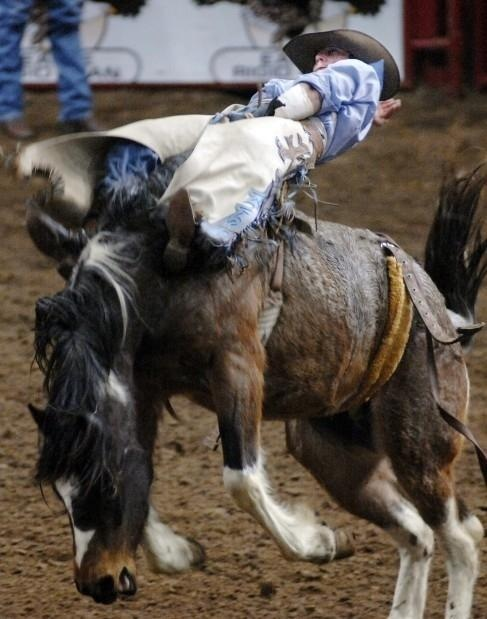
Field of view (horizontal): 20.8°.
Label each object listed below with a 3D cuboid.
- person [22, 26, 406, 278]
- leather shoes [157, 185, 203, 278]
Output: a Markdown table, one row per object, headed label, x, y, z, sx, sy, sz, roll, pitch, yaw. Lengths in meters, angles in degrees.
| label | x | y | z | sx | sy | sz | roll | pitch | yaw |
| --- | --- | --- | --- | --- | --- | --- | --- | --- | --- |
| person | -0.041 | -0.459 | 4.178 | 1.219 | 0.703 | 0.559 | -17 | 29 | -41 |
| leather shoes | -0.175 | -0.214 | 3.871 | 0.085 | 0.235 | 0.096 | 6 | -2 | -4 |
